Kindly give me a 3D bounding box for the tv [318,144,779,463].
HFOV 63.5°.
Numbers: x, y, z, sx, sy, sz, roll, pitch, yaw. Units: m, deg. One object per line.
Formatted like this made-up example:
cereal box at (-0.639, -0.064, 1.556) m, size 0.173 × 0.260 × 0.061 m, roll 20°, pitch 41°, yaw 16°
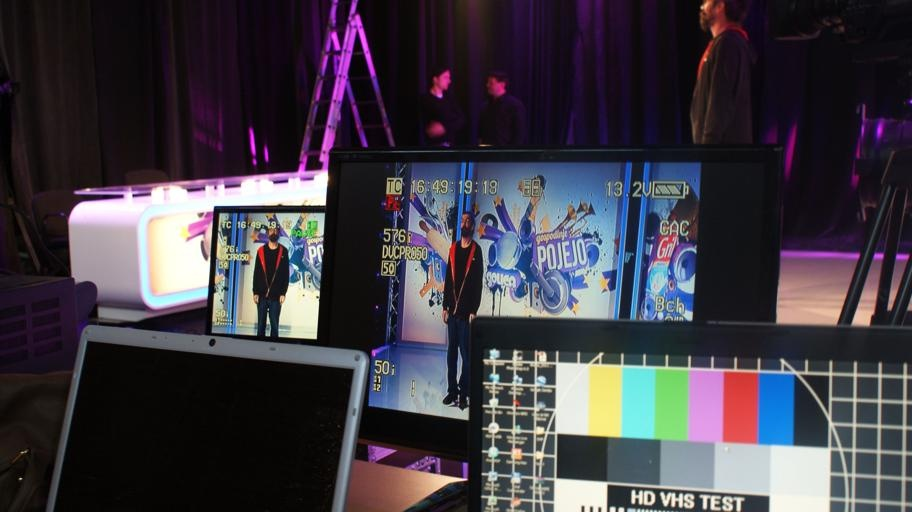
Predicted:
tv at (0.401, 0.179, 2.689) m, size 1.248 × 0.810 × 0.084 m, roll 0°, pitch -1°, yaw 10°
